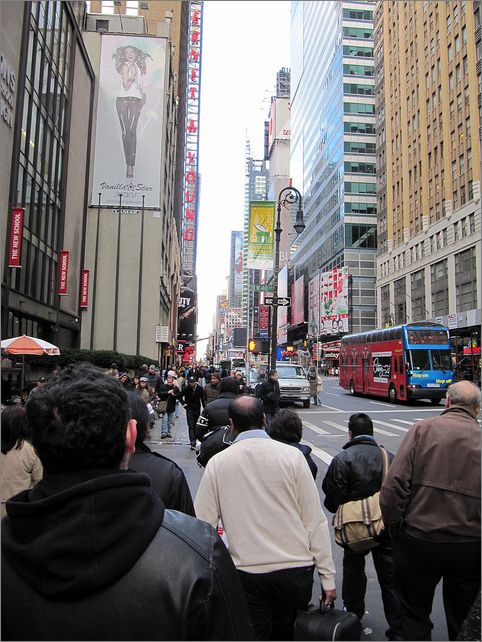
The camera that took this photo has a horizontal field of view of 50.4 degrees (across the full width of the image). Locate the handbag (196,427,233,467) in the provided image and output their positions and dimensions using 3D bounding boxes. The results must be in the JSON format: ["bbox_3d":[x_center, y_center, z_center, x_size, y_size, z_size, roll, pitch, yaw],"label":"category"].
[{"bbox_3d":[-0.281,1.195,5.049,0.248,0.207,0.459,21,-62,-44],"label":"handbag"}]

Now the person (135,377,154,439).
[{"bbox_3d":[-2.387,2.102,12.872,0.335,1.449,0.436,1,26,2],"label":"person"}]

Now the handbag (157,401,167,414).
[{"bbox_3d":[-2.140,2.389,14.025,0.232,0.331,0.116,-12,-24,39],"label":"handbag"}]

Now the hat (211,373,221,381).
[{"bbox_3d":[-0.637,1.414,12.524,0.135,0.248,0.214,6,2,6],"label":"hat"}]

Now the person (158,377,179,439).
[{"bbox_3d":[-2.004,2.373,13.992,0.360,1.721,0.527,4,1,12],"label":"person"}]

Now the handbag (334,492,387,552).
[{"bbox_3d":[0.864,1.570,3.803,0.356,0.296,0.446,-17,22,14],"label":"handbag"}]
